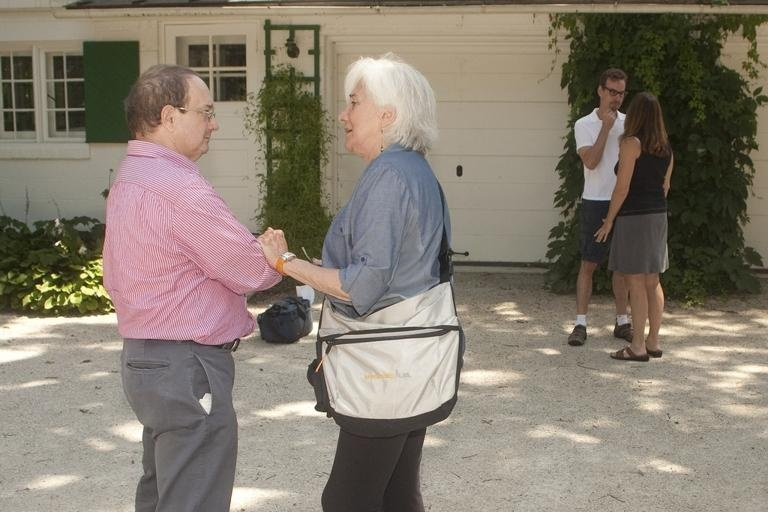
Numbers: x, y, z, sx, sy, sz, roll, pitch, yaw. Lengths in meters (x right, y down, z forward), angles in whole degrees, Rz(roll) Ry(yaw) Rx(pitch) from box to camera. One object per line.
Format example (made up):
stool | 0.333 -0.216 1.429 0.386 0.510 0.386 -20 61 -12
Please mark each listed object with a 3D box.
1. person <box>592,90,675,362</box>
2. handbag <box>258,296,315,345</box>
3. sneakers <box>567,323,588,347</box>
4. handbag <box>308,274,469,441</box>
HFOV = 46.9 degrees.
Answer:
person | 2.522 -0.284 8.837 0.639 2.635 0.455 1 6 14
handbag | -1.089 0.670 9.554 0.494 0.437 0.669 -1 3 19
sneakers | 2.034 0.837 9.324 0.221 0.242 0.604 -2 -3 18
handbag | 0.044 0.522 6.222 1.070 1.113 1.361 -1 9 10
